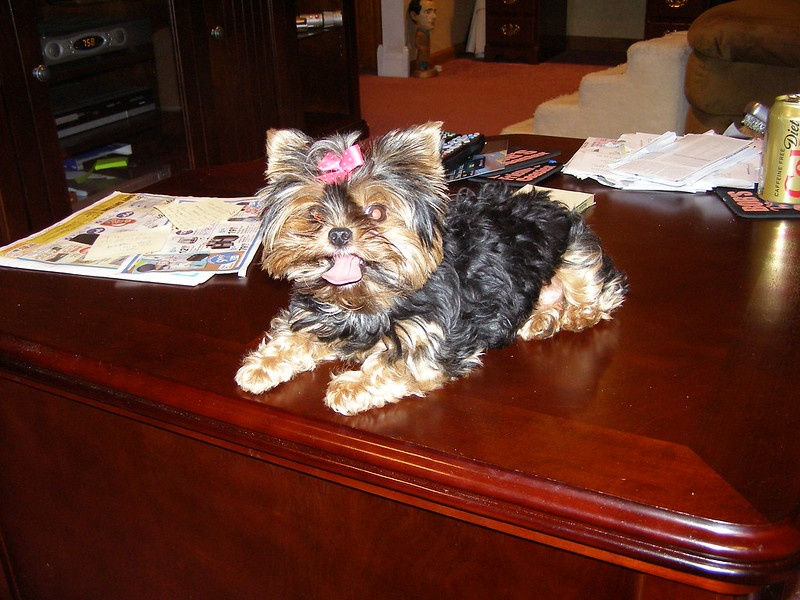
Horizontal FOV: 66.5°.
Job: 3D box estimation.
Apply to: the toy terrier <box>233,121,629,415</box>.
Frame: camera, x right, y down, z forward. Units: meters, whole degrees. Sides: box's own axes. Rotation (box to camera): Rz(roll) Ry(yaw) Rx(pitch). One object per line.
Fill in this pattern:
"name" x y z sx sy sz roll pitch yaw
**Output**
"toy terrier" 0.052 -0.122 1.189 0.807 0.440 0.396 -16 30 -30
